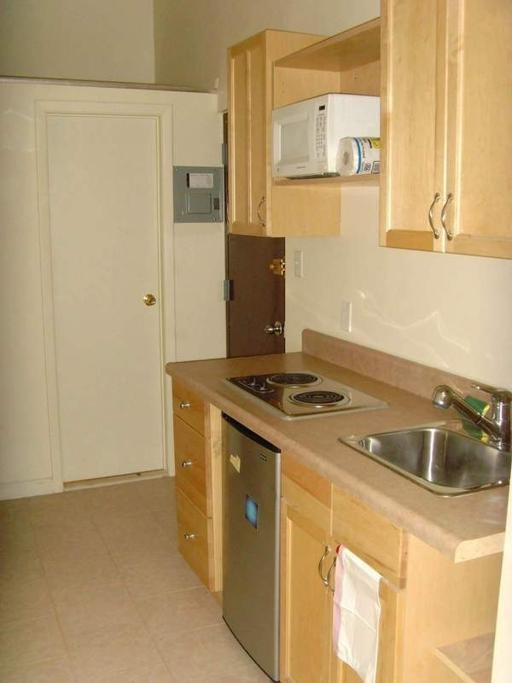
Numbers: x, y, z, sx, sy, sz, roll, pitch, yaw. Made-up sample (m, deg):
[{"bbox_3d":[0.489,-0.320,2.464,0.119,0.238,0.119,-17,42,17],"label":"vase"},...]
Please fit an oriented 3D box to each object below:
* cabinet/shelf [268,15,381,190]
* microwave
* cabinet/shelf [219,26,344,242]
[{"bbox_3d":[0.246,-0.767,1.990,0.237,0.438,0.469,-4,14,-19],"label":"cabinet/shelf"},{"bbox_3d":[0.216,-0.683,1.949,0.195,0.239,0.353,-11,16,-29],"label":"microwave"},{"bbox_3d":[0.099,-0.836,2.388,0.374,0.766,0.463,-5,16,-10],"label":"cabinet/shelf"}]
